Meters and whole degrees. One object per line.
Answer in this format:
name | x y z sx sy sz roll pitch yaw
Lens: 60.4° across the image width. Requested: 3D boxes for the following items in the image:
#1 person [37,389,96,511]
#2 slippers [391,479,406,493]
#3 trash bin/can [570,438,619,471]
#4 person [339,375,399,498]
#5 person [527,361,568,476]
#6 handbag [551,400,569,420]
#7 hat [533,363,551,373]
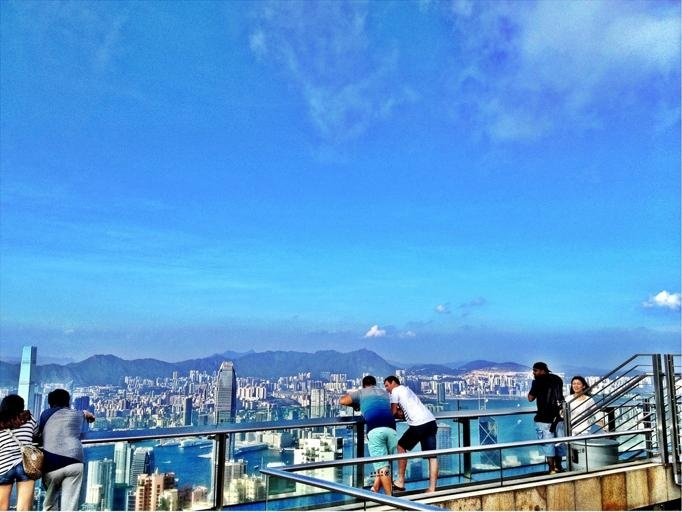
person | -3.642 2.527 7.670 0.631 1.524 0.337 -5 -17 7
slippers | 0.776 3.118 7.948 0.100 0.084 0.214 6 -4 -31
trash bin/can | 4.015 3.186 9.442 0.680 0.496 0.674 4 -4 -26
person | 0.424 2.497 8.403 0.759 1.659 1.137 -4 -17 3
person | 3.502 2.661 9.869 0.607 1.775 1.085 -9 -18 19
handbag | 3.808 2.671 10.173 0.083 0.329 0.365 4 -6 37
hat | 3.543 1.954 10.315 0.256 0.143 0.188 5 -10 34
